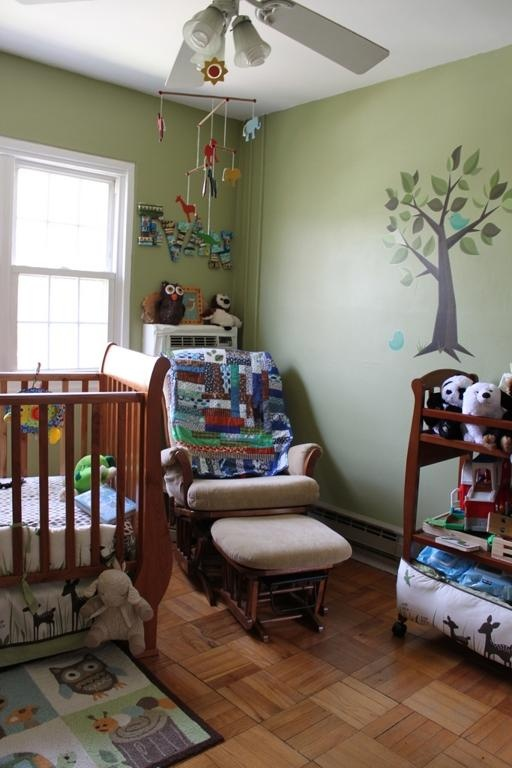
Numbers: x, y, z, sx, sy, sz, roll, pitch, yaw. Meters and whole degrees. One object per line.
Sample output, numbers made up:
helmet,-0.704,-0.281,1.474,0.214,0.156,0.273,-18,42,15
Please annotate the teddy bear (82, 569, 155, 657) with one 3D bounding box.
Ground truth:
teddy bear,-0.429,0.693,1.814,0.224,0.222,0.168,4,10,5

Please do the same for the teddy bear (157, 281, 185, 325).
teddy bear,-0.450,-0.438,3.262,0.117,0.239,0.183,5,3,41

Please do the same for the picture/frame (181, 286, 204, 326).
picture/frame,-0.375,-0.440,3.372,0.024,0.248,0.247,-3,-2,30

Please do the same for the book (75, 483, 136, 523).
book,-0.509,0.407,1.972,0.140,0.034,0.145,25,19,32

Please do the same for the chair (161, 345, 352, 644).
chair,-0.047,0.409,2.573,0.674,0.992,1.237,0,6,-19
